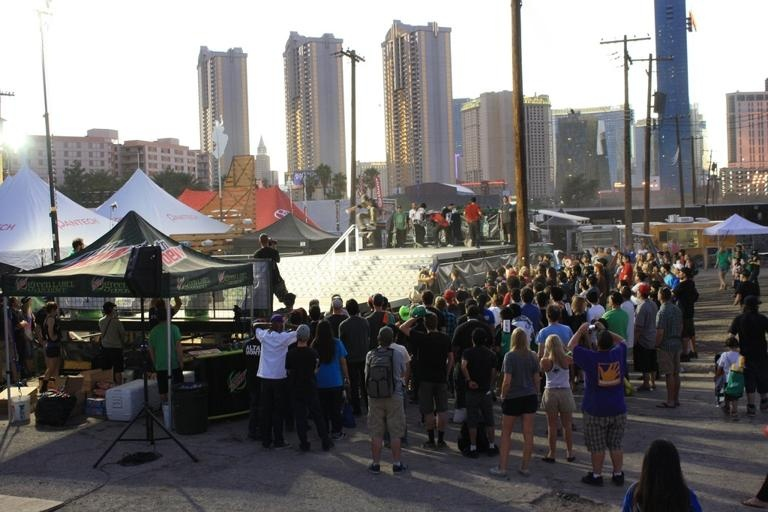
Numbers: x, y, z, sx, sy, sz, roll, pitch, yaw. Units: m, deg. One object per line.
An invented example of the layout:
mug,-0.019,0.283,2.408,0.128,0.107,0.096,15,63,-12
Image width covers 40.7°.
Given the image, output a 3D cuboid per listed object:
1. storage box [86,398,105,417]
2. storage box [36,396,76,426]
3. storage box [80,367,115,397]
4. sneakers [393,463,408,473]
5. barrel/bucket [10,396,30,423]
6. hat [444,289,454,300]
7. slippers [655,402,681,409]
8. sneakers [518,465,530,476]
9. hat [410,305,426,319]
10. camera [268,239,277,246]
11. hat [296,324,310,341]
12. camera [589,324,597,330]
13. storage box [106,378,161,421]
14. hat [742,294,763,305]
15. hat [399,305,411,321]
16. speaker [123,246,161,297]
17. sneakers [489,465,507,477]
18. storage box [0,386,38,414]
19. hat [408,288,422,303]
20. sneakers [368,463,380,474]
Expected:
storage box,-7.529,3.949,27.156,0.463,0.471,0.344,0,-5,0
storage box,-8.403,3.937,26.648,0.871,0.866,0.702,-2,-3,37
storage box,-7.670,3.351,27.777,0.777,0.613,1.117,4,4,-9
sneakers,0.382,4.820,23.764,0.340,0.244,0.211,-3,4,-5
barrel/bucket,-9.354,3.953,26.892,0.585,0.645,0.587,1,-1,0
hat,1.772,1.024,27.740,0.217,0.261,0.306,0,-1,7
slippers,7.320,3.833,26.637,0.445,0.122,0.224,2,3,12
sneakers,3.220,4.851,23.600,0.240,0.233,0.323,-2,4,8
hat,0.885,1.345,25.601,0.331,0.329,0.248,-7,-2,-16
camera,-3.331,-0.408,30.787,0.227,0.172,0.310,-6,-2,29
hat,-1.905,1.785,24.873,0.426,0.313,0.567,0,24,0
camera,5.152,1.733,25.469,0.243,0.113,0.248,0,0,4
storage box,-6.568,3.779,27.359,0.892,0.824,1.575,-1,4,22
hat,9.308,1.097,26.172,0.388,0.298,1.004,-1,5,18
hat,0.548,1.457,26.767,0.252,0.339,0.360,0,-2,-4
speaker,-5.737,0.379,24.871,0.905,1.221,0.323,-4,4,-20
sneakers,2.599,4.885,23.529,0.200,0.161,0.370,-6,12,-35
storage box,-9.648,3.686,27.435,0.700,0.489,1.016,0,2,2
hat,0.907,1.109,29.172,0.398,0.390,0.486,2,-4,0
sneakers,-0.203,4.834,23.748,0.279,0.236,0.210,-2,4,2
